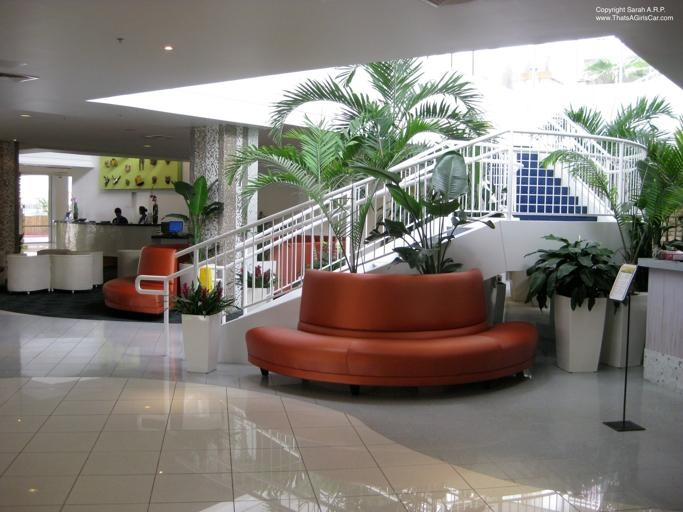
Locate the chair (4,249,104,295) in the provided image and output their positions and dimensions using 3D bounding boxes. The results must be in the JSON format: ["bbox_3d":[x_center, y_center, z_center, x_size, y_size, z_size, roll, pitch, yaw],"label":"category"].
[{"bbox_3d":[-6.387,0.308,10.292,1.348,0.611,1.250,-5,6,-35],"label":"chair"}]

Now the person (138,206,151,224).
[{"bbox_3d":[-6.468,-1.393,15.522,0.315,0.558,2.273,-1,5,-22],"label":"person"}]

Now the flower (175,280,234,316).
[{"bbox_3d":[-1.538,0.509,5.409,0.451,0.319,0.451,3,5,12],"label":"flower"}]

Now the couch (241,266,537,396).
[{"bbox_3d":[0.542,0.777,4.905,2.908,1.217,1.018,0,5,-7],"label":"couch"}]

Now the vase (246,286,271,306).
[{"bbox_3d":[-1.223,0.588,6.865,0.387,0.272,0.212,-1,-4,13],"label":"vase"}]
